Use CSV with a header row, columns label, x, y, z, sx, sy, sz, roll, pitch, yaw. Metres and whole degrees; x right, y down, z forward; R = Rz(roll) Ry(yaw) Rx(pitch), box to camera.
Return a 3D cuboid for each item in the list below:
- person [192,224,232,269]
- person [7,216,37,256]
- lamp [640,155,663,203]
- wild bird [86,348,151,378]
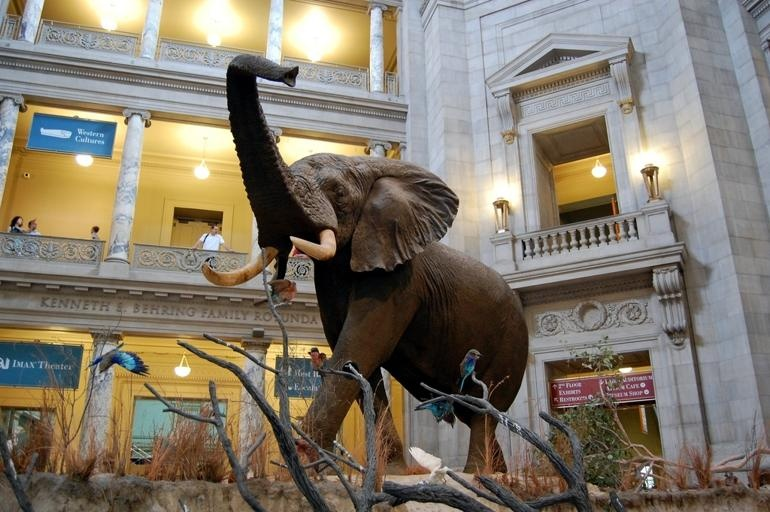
label,x,y,z,sx,sy,sz,roll,pitch,yaw
person,-4.131,-0.172,14.091,0.790,0.339,1.275,3,-55,-21
person,-8.003,-0.421,13.079,0.529,1.014,1.065,6,-14,-32
lamp,5.011,-1.441,11.141,0.325,0.954,0.431,-7,-13,25
wild bird,-1.363,0.553,3.057,0.276,0.124,0.288,-16,4,-24
